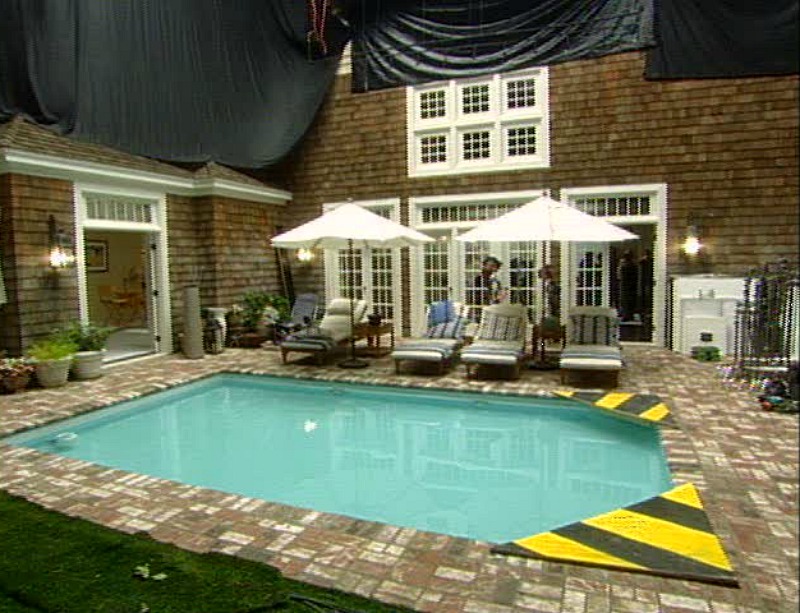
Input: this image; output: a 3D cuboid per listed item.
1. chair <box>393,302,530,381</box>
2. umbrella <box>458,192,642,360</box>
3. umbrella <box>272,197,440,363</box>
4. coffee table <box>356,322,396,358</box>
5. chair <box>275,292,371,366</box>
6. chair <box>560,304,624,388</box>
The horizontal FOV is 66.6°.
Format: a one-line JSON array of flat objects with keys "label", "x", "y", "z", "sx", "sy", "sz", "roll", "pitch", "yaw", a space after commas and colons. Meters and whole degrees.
[{"label": "chair", "x": 1.268, "y": 0.625, "z": 10.353, "sx": 1.889, "sy": 0.713, "sz": 1.667, "roll": 0, "pitch": 4, "yaw": 27}, {"label": "umbrella", "x": 2.657, "y": -0.621, "z": 11.501, "sx": 4.191, "sy": 2.111, "sz": 3.830, "roll": 5, "pitch": 11, "yaw": 31}, {"label": "umbrella", "x": -0.820, "y": -0.474, "z": 11.722, "sx": 4.019, "sy": 2.558, "sz": 3.492, "roll": -2, "pitch": 6, "yaw": -1}, {"label": "coffee table", "x": -0.498, "y": 0.646, "z": 11.627, "sx": 0.855, "sy": 0.649, "sz": 1.047, "roll": 0, "pitch": 4, "yaw": 11}, {"label": "chair", "x": -1.334, "y": 0.435, "z": 11.761, "sx": 1.264, "sy": 0.832, "sz": 1.733, "roll": 1, "pitch": 5, "yaw": 26}, {"label": "chair", "x": 3.044, "y": 0.684, "z": 9.625, "sx": 1.068, "sy": 0.775, "sz": 1.599, "roll": 1, "pitch": 6, "yaw": 23}]
